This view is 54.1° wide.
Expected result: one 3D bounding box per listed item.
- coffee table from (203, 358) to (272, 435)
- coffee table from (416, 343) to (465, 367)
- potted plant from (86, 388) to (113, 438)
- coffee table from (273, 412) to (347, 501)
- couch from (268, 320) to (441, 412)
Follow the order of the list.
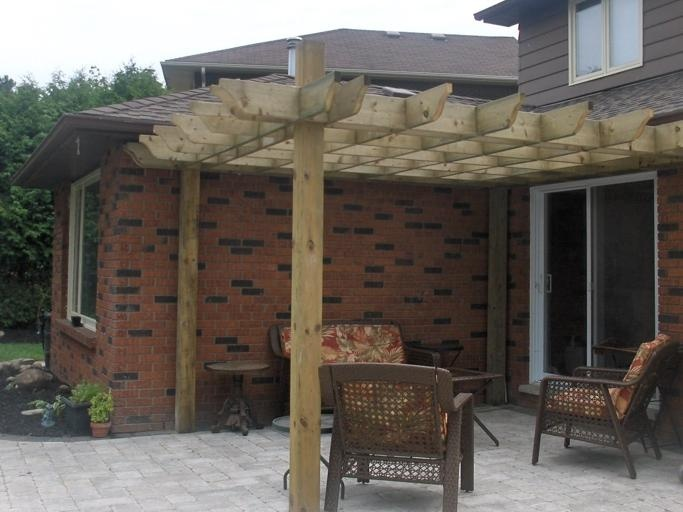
[{"bbox_3d":[-1.145,1.621,7.610,0.869,0.688,0.775,6,-13,-28],"label":"coffee table"},{"bbox_3d":[1.288,1.199,8.686,0.474,0.404,0.482,2,3,40],"label":"coffee table"},{"bbox_3d":[-2.646,1.718,7.330,0.253,0.458,0.339,0,2,-23],"label":"potted plant"},{"bbox_3d":[-0.360,1.861,6.541,0.758,0.422,0.627,0,-8,-4],"label":"coffee table"},{"bbox_3d":[0.190,1.331,8.015,1.772,0.800,0.948,1,12,-26],"label":"couch"}]
